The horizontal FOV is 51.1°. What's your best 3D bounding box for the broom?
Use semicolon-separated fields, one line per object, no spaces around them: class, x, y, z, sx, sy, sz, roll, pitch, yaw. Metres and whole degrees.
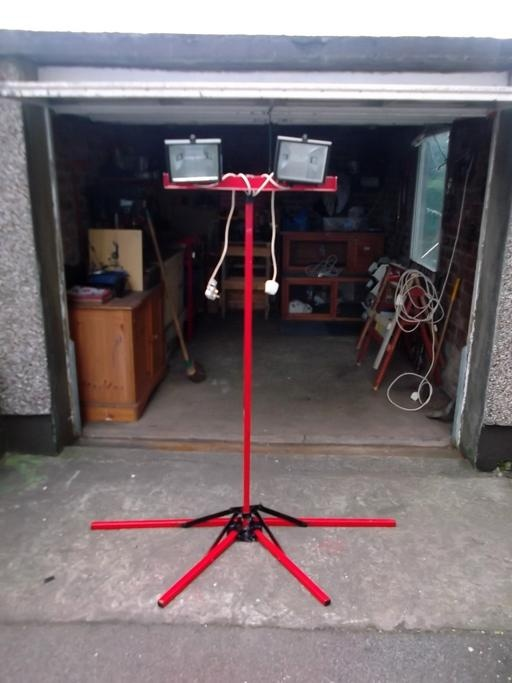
broom;-0.858;-0.486;5.360;0.208;0.492;2.780;11;40;-37
